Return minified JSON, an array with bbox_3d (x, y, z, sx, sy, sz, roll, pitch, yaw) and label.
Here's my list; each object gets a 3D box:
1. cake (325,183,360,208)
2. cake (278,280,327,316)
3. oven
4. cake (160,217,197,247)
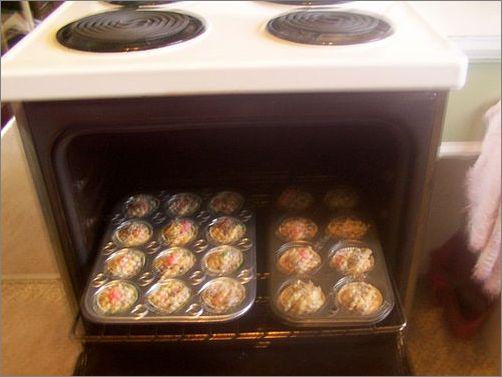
[{"bbox_3d":[0.251,0.012,1.130,0.069,0.063,0.017,1,20,9],"label":"cake"},{"bbox_3d":[0.115,0.251,0.955,0.116,0.025,0.113,3,31,22],"label":"cake"},{"bbox_3d":[0.016,0.164,1.181,1.034,0.788,0.506,-3,34,-3],"label":"oven"},{"bbox_3d":[-0.185,0.116,1.089,0.102,0.019,0.096,-23,54,1],"label":"cake"}]
